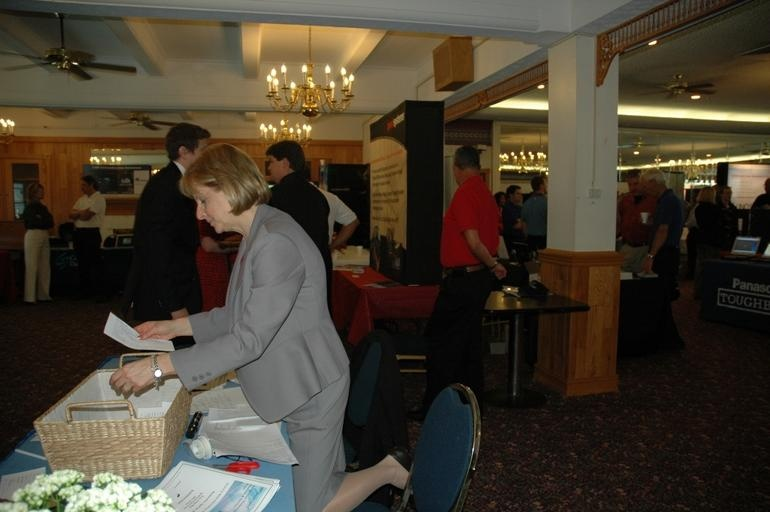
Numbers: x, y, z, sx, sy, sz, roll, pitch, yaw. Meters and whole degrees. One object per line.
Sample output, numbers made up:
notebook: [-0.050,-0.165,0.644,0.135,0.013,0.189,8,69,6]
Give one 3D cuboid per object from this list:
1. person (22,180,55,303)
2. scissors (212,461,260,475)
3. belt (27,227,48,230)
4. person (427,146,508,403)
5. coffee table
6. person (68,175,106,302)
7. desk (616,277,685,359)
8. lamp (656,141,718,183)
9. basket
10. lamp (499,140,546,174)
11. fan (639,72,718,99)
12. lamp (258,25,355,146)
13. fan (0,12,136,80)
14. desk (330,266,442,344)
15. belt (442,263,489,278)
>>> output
person: [-5.751,-0.169,9.671,0.489,1.956,0.561,-6,9,-34]
scissors: [-0.827,1.189,3.288,0.258,0.086,0.093,3,-15,-4]
belt: [-5.638,-0.434,9.480,0.294,0.051,0.126,-5,8,-31]
person: [0.732,0.192,5.333,0.579,2.367,0.671,4,9,35]
coffee table: [1.256,0.920,5.819,1.084,1.015,1.078,-3,8,-25]
person: [-5.072,-0.318,10.048,0.505,2.086,0.632,-5,8,-29]
desk: [3.040,0.679,7.220,0.951,0.903,0.899,-4,11,-9]
lamp: [6.802,-2.159,13.073,0.993,1.386,1.007,0,5,2]
basket: [-1.526,0.924,3.453,0.552,0.362,0.733,-1,1,-1]
lamp: [3.156,-2.216,13.619,0.893,0.442,0.902,1,9,-4]
fan: [4.878,-2.714,9.578,0.882,0.335,1.839,4,8,33]
lamp: [-1.050,-2.593,8.367,1.475,2.042,1.413,0,-1,-5]
fan: [-4.267,-2.744,7.997,1.573,0.759,2.875,-4,8,-27]
desk: [-0.012,0.510,5.998,0.874,0.422,1.413,-1,1,-10]
belt: [0.727,0.145,5.266,0.403,0.140,0.154,2,8,22]
